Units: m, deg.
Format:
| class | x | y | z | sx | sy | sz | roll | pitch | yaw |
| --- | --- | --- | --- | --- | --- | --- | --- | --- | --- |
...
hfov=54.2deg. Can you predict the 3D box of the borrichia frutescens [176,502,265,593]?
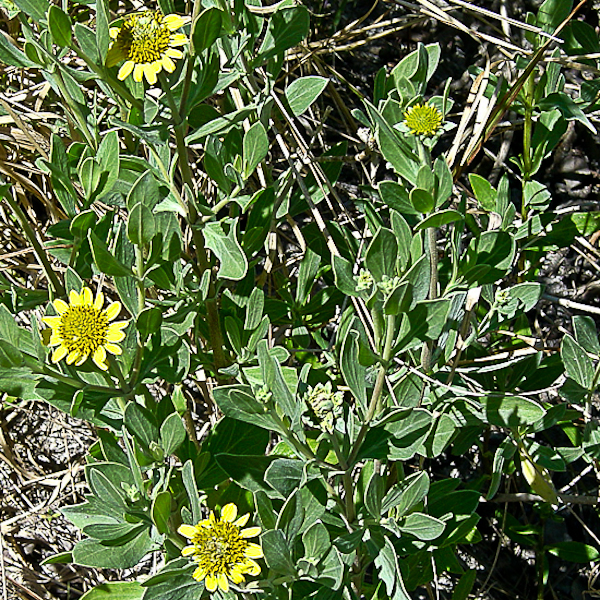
| class | x | y | z | sx | sy | sz | roll | pitch | yaw |
| --- | --- | --- | --- | --- | --- | --- | --- | --- | --- |
| borrichia frutescens | -0.070 | 0.232 | 0.551 | 0.072 | 0.105 | 0.071 | -30 | 72 | -14 |
